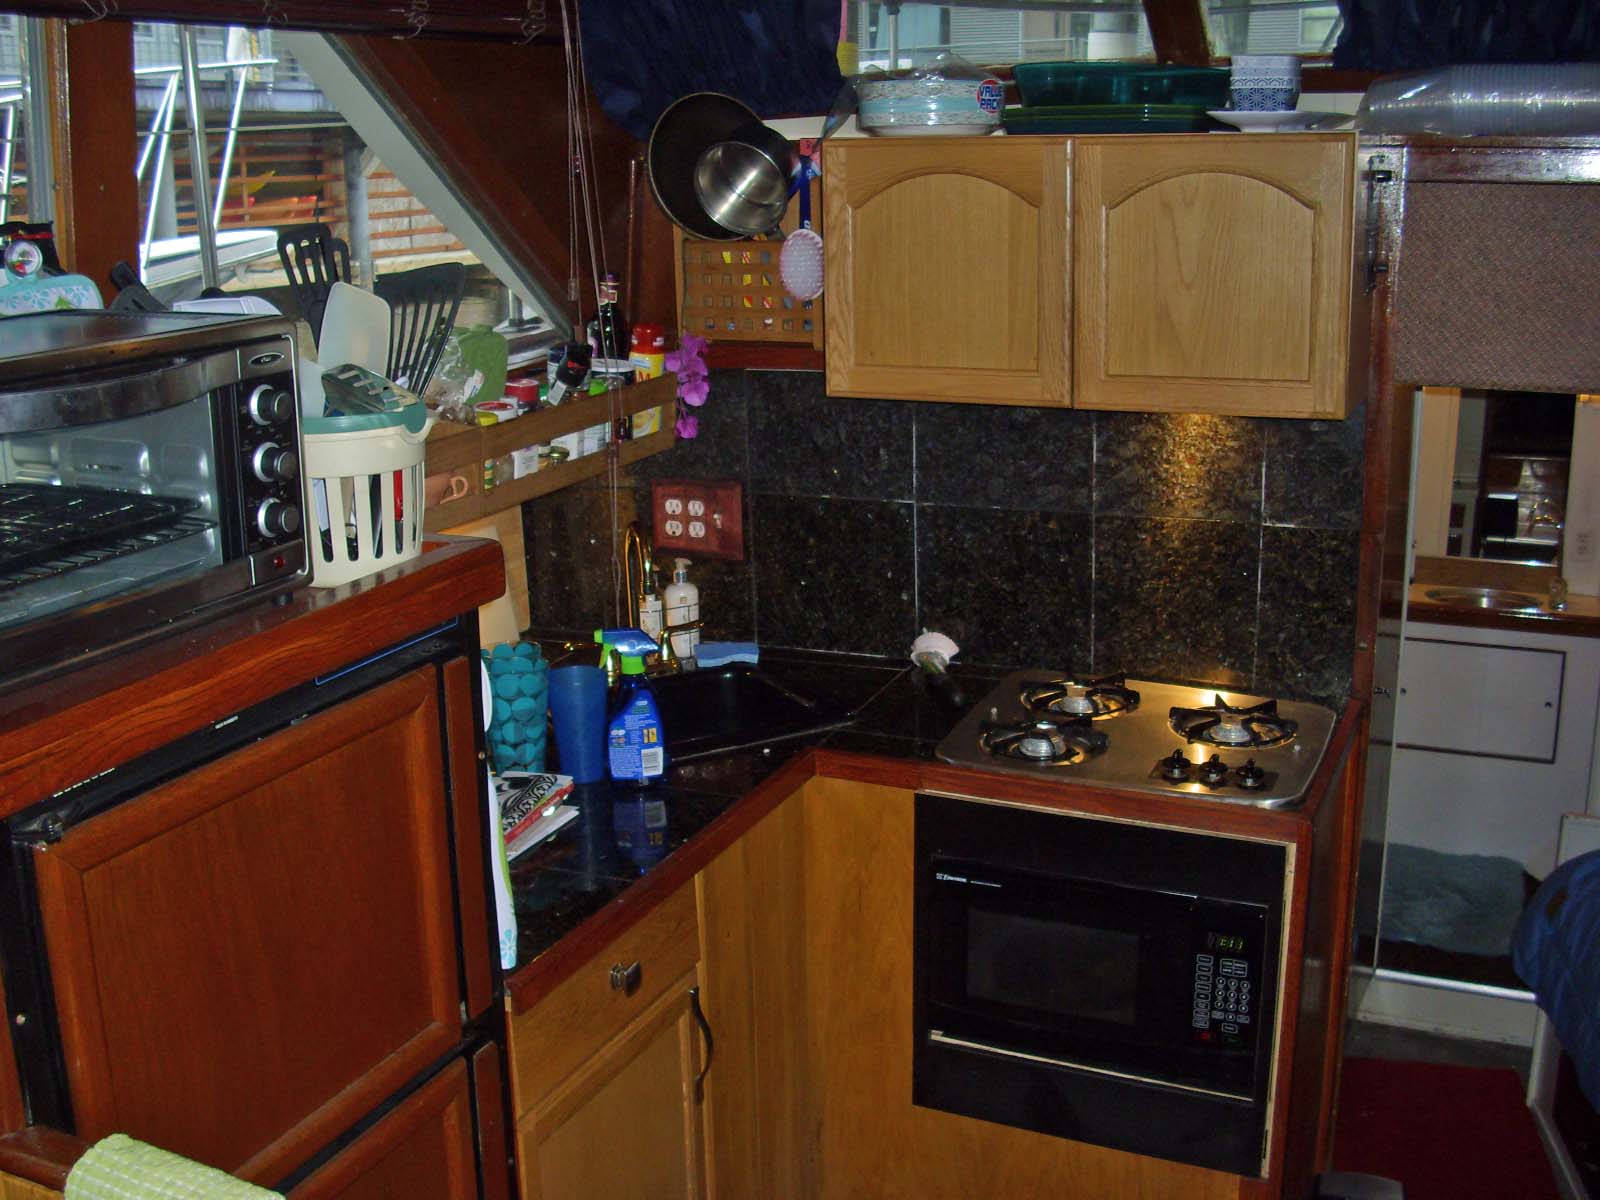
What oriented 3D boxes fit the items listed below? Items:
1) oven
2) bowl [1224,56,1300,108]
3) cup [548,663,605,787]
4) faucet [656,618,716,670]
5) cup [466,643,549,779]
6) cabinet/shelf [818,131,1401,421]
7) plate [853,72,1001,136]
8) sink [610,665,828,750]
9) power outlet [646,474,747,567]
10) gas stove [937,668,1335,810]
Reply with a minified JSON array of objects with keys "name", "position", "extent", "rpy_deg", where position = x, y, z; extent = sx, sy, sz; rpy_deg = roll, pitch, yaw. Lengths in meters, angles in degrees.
[{"name":"oven","position":[0.668,0.648,2.930],"extent":[0.955,0.917,0.663],"rpy_deg":[4,10,22]},{"name":"bowl","position":[0.916,-1.028,2.567],"extent":[0.116,0.086,0.113],"rpy_deg":[-3,27,1]},{"name":"cup","position":[-0.453,0.249,2.668],"extent":[0.117,0.243,0.108],"rpy_deg":[0,11,0]},{"name":"faucet","position":[-0.296,0.109,3.277],"extent":[0.110,0.120,0.110],"rpy_deg":[1,2,-1]},{"name":"cup","position":[-0.572,0.219,2.664],"extent":[0.122,0.246,0.134],"rpy_deg":[-2,11,-11]},{"name":"cabinet/shelf","position":[0.590,-0.663,2.808],"extent":[1.070,0.553,0.329],"rpy_deg":[2,1,7]},{"name":"plate","position":[0.278,-1.053,2.751],"extent":[0.307,0.129,0.079],"rpy_deg":[1,11,2]},{"name":"sink","position":[-0.171,0.256,3.159],"extent":[0.274,0.109,0.226],"rpy_deg":[-12,30,-22]},{"name":"power outlet","position":[-0.256,-0.220,3.381],"extent":[0.233,0.185,0.024],"rpy_deg":[5,18,13]},{"name":"gas stove","position":[0.740,0.274,2.811],"extent":[0.770,0.119,0.563],"rpy_deg":[5,12,23]}]
